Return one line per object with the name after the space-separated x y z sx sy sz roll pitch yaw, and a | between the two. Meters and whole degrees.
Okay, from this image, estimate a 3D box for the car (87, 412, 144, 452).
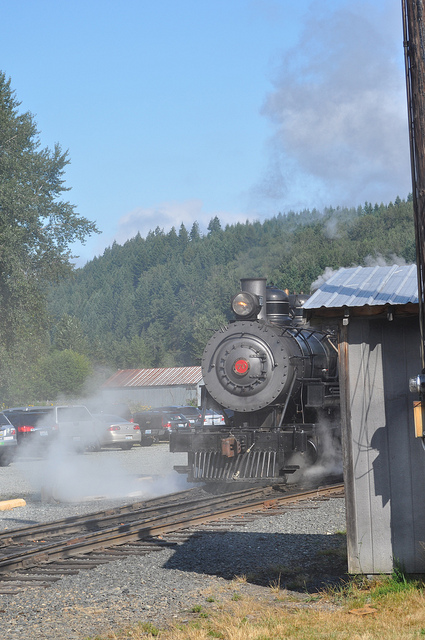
-3.342 3.836 26.746 1.894 0.609 0.886 1 -1 40 | car

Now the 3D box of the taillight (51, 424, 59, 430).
-4.716 3.237 23.725 0.230 0.150 0.068 -3 -3 -17 | taillight

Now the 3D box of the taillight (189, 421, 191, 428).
-0.901 4.109 30.703 0.077 0.297 0.075 -19 -34 29 | taillight

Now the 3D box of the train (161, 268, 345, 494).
0.942 1.101 14.467 2.243 3.891 3.535 -7 -4 35 | train

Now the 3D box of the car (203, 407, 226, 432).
0.092 3.594 29.018 1.234 0.872 2.682 0 -8 3 | car

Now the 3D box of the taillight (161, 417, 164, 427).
-1.916 3.914 30.367 0.099 0.279 0.151 -4 -3 -6 | taillight

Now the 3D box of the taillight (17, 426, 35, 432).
-5.511 3.246 23.471 0.442 0.169 0.118 -3 -3 -17 | taillight

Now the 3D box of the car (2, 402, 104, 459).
-5.255 3.407 24.548 1.497 1.100 2.959 0 0 -32 | car

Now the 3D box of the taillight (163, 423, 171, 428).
-1.743 4.079 30.362 0.337 0.180 0.079 -2 -4 -38 | taillight
